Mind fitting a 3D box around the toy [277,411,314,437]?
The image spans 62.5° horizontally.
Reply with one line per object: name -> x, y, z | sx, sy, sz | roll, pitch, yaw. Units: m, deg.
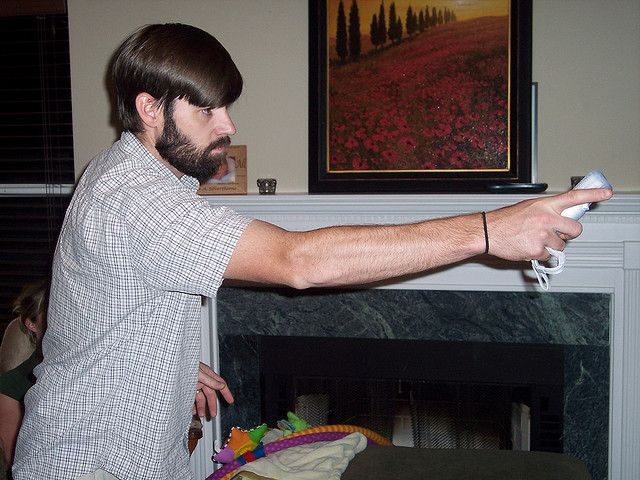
toy -> -0.103, 0.810, 2.301 | 0.136, 0.113, 0.107 | -20, 1, -2

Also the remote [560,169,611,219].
remote -> 0.622, -0.110, 1.224 | 0.033, 0.140, 0.087 | 49, 0, -27
